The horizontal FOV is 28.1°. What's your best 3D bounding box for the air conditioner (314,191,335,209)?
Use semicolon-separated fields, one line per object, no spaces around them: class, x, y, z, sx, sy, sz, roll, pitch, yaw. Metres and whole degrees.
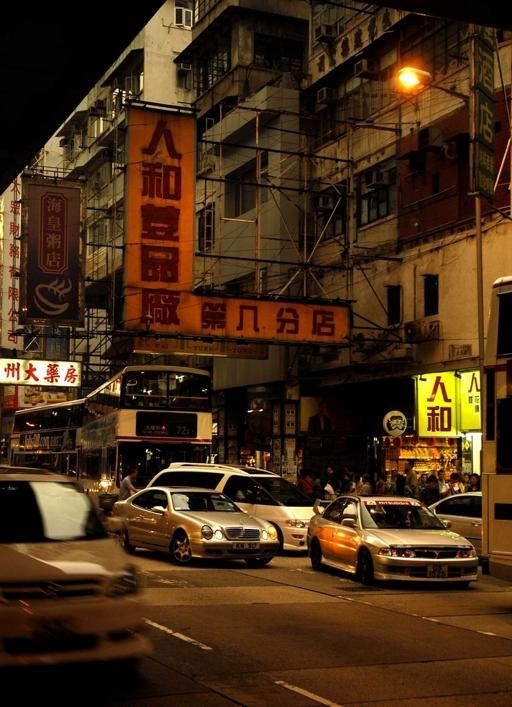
air conditioner;2.386;-5.322;35.265;0.725;0.637;1.093;-5;7;2

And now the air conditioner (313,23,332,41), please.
air conditioner;2.339;-11.347;35.851;0.448;0.616;0.861;6;-10;-20

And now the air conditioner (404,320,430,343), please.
air conditioner;4.347;-0.595;27.861;0.599;0.503;0.876;2;-2;9

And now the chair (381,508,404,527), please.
chair;2.047;2.474;15.369;0.349;0.251;0.720;0;-4;8

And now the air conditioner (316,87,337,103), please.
air conditioner;2.427;-9.127;35.932;0.548;0.645;1.060;1;-3;-11

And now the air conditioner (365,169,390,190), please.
air conditioner;3.773;-5.497;31.611;0.440;0.626;0.760;1;-3;-17

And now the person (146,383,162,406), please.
person;-2.418;0.991;24.486;0.438;0.491;0.860;2;2;-7

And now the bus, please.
bus;-4.337;2.478;30.030;2.654;3.602;12.462;2;-7;-16
